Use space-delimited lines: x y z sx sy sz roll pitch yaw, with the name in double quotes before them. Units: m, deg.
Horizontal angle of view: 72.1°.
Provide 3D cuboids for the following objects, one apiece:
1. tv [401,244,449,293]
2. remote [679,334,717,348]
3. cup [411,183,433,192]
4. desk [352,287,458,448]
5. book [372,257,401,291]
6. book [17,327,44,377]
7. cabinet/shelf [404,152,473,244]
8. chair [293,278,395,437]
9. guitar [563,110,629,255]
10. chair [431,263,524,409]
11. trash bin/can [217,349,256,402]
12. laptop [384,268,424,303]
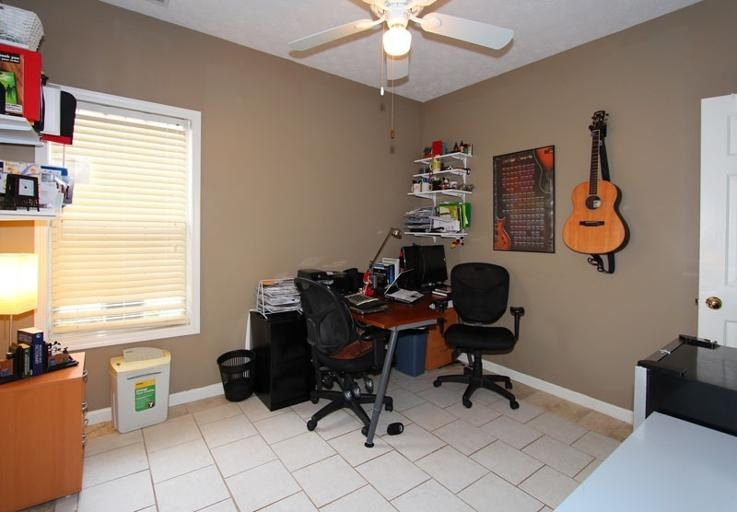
"tv" 0.572 0.110 5.200 0.615 0.425 0.158 -6 5 -40
"remote" 2.014 0.517 3.089 0.198 0.048 0.127 0 7 21
"cup" 0.574 -0.739 5.535 0.184 0.086 0.100 -5 7 -44
"desk" 0.165 0.884 4.539 0.936 0.901 1.187 5 -1 -45
"book" 0.175 0.164 4.963 0.296 0.401 0.283 5 -4 -36
"book" -2.358 0.671 3.491 0.294 0.398 0.140 1 5 44
"cabinet/shelf" 0.677 -0.630 5.430 0.521 1.029 0.754 -7 8 -32
"chair" -0.213 0.781 4.382 0.907 1.220 0.892 -1 4 -17
"guitar" 1.916 -0.610 4.252 0.505 1.181 0.316 1 8 27
"chair" 0.997 0.688 4.620 0.825 1.166 0.814 4 8 24
"trash bin/can" -1.145 1.072 4.585 0.393 0.418 0.405 -1 -2 -10
"laptop" 0.344 0.269 4.827 0.299 0.251 0.427 9 8 23
